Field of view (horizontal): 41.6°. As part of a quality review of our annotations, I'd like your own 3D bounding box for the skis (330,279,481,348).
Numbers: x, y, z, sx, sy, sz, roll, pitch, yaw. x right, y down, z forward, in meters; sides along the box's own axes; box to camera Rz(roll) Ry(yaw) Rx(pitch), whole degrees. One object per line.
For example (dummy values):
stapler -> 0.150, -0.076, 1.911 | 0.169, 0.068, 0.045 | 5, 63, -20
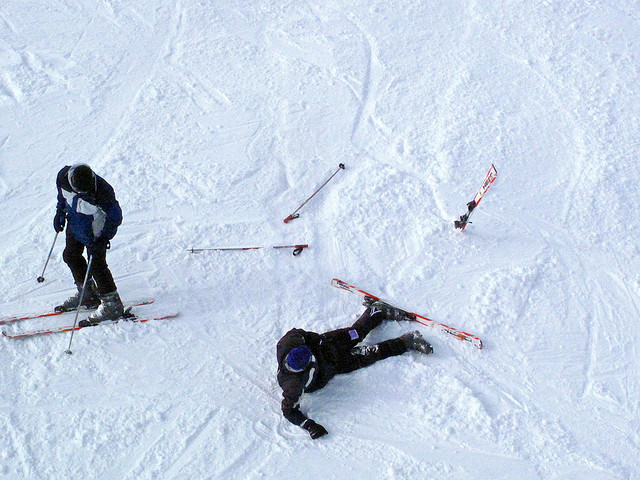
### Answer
skis -> 1.655, 1.465, 16.301 | 2.454, 0.183, 0.261 | 28, 104, 19
